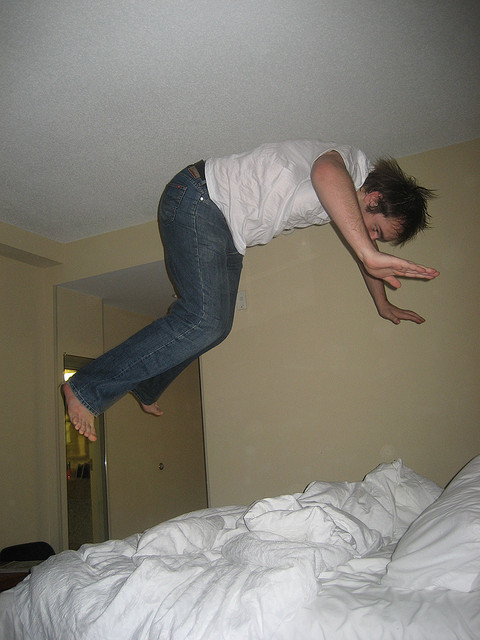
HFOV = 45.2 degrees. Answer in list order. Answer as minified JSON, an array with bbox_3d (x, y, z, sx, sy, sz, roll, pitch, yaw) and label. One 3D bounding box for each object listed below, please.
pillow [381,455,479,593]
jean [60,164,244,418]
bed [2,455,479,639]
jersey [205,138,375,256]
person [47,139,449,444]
[{"bbox_3d":[0.441,0.489,1.316,0.228,0.182,0.209,-10,-8,21],"label":"pillow"},{"bbox_3d":[-0.255,-0.090,1.764,0.535,0.715,0.209,-9,-8,12],"label":"jean"},{"bbox_3d":[0.045,0.557,1.277,0.838,0.182,0.587,-3,-5,10],"label":"bed"},{"bbox_3d":[0.095,-0.360,1.923,0.687,0.311,0.538,-3,1,0],"label":"jersey"},{"bbox_3d":[0.158,-0.278,2.350,1.135,1.279,1.626,-10,-8,17],"label":"person"}]
